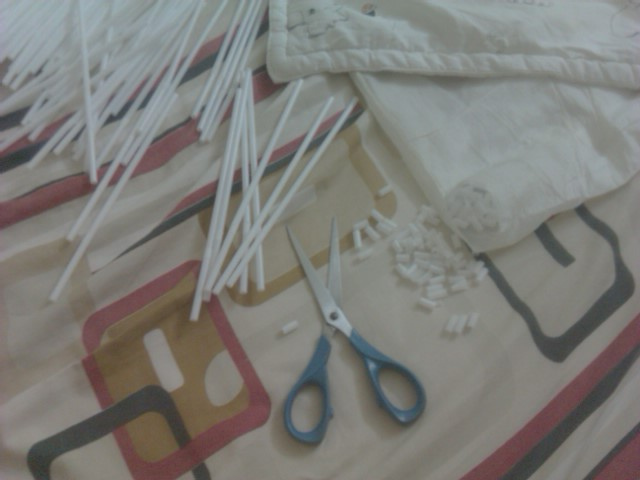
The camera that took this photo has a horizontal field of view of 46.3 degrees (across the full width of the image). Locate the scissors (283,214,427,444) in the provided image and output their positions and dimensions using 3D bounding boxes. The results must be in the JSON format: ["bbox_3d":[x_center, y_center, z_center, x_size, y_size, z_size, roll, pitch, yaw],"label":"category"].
[{"bbox_3d":[0.023,0.194,1.641,0.292,0.090,0.614,-9,44,-11],"label":"scissors"}]

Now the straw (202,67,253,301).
[{"bbox_3d":[-0.205,-0.103,1.652,0.016,0.019,0.514,6,73,16],"label":"straw"}]

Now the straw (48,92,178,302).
[{"bbox_3d":[-0.453,-0.076,1.625,0.016,0.016,0.507,7,68,31],"label":"straw"}]

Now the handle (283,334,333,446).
[{"bbox_3d":[-0.014,0.297,1.526,0.098,0.307,0.031,11,33,1],"label":"handle"}]

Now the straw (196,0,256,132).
[{"bbox_3d":[-0.224,-0.403,1.778,0.011,0.014,0.370,19,65,-11],"label":"straw"}]

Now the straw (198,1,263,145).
[{"bbox_3d":[-0.213,-0.384,1.771,0.012,0.015,0.402,19,65,-12],"label":"straw"}]

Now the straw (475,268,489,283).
[{"bbox_3d":[0.354,0.075,1.623,0.016,0.009,0.033,25,77,-3],"label":"straw"}]

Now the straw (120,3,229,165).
[{"bbox_3d":[-0.345,-0.352,1.748,0.015,0.018,0.460,23,67,-4],"label":"straw"}]

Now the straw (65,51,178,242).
[{"bbox_3d":[-0.447,-0.193,1.671,0.017,0.013,0.492,15,66,6],"label":"straw"}]
